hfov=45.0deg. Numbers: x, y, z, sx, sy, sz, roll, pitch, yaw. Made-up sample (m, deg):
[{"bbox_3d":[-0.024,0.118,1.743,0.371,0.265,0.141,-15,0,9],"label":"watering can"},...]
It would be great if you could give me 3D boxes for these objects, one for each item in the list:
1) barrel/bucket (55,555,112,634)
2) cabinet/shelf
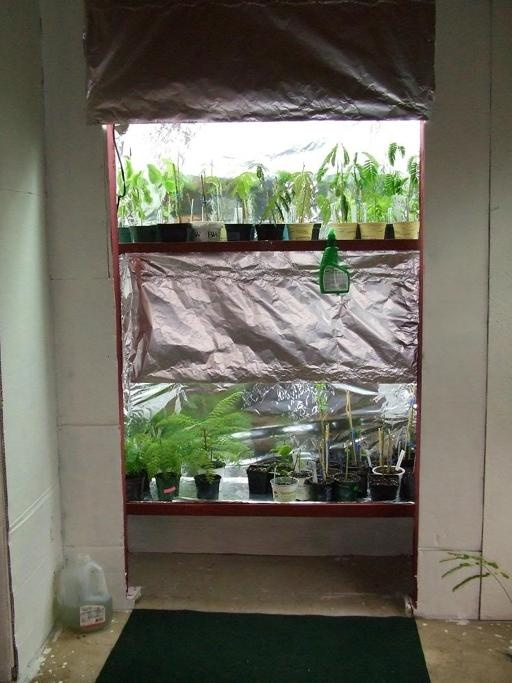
[{"bbox_3d":[-0.605,0.895,2.186,0.178,0.241,0.139,3,-8,-32],"label":"barrel/bucket"},{"bbox_3d":[0.025,0.010,2.594,1.310,1.865,0.374,0,6,5],"label":"cabinet/shelf"}]
